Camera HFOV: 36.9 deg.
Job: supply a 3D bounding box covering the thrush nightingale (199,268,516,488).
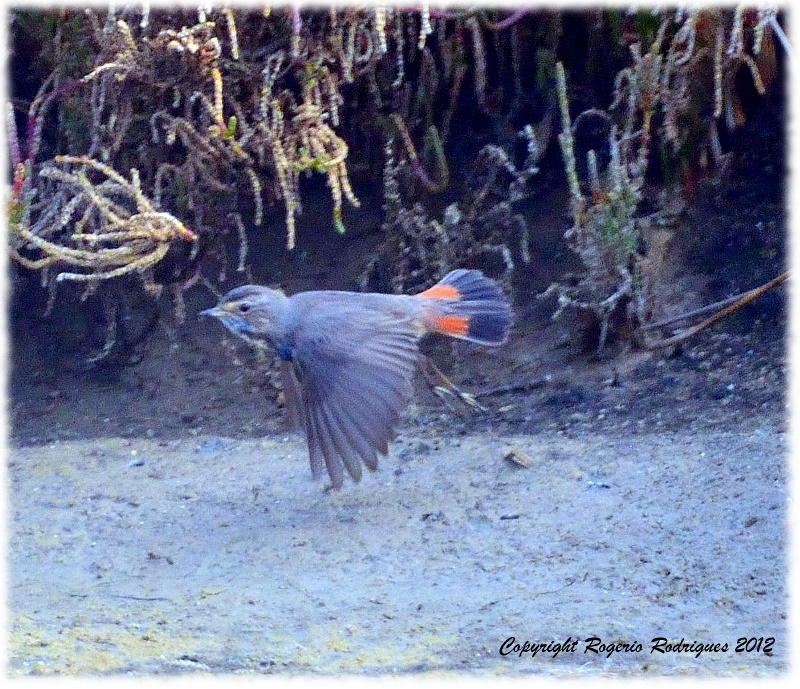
[{"bbox_3d":[-0.065,0.124,5.298,1.055,0.581,1.233,-27,33,8],"label":"thrush nightingale"}]
